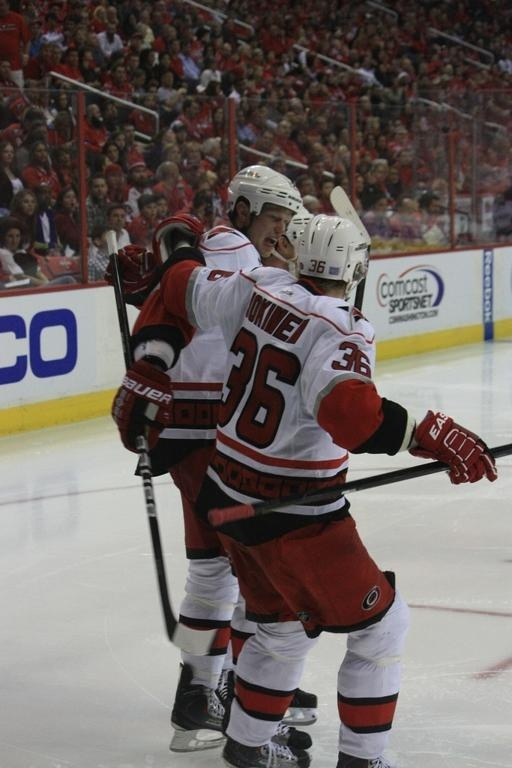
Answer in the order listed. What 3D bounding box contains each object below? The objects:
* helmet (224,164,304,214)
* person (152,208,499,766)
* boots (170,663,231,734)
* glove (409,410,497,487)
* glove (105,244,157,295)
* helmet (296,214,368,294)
[{"bbox_3d":[0.024,-0.536,2.110,0.188,0.163,0.143,27,24,2],"label":"helmet"},{"bbox_3d":[0.110,0.300,1.562,0.391,1.298,0.668,-9,13,-33],"label":"person"},{"bbox_3d":[-0.130,0.840,1.945,0.071,0.163,0.220,-9,-32,40],"label":"boots"},{"bbox_3d":[0.350,0.117,1.304,0.184,0.102,0.064,22,-12,-27],"label":"glove"},{"bbox_3d":[-0.344,-0.325,2.082,0.146,0.156,0.072,4,-4,23],"label":"glove"},{"bbox_3d":[0.162,-0.257,1.470,0.150,0.159,0.158,13,14,18],"label":"helmet"}]
